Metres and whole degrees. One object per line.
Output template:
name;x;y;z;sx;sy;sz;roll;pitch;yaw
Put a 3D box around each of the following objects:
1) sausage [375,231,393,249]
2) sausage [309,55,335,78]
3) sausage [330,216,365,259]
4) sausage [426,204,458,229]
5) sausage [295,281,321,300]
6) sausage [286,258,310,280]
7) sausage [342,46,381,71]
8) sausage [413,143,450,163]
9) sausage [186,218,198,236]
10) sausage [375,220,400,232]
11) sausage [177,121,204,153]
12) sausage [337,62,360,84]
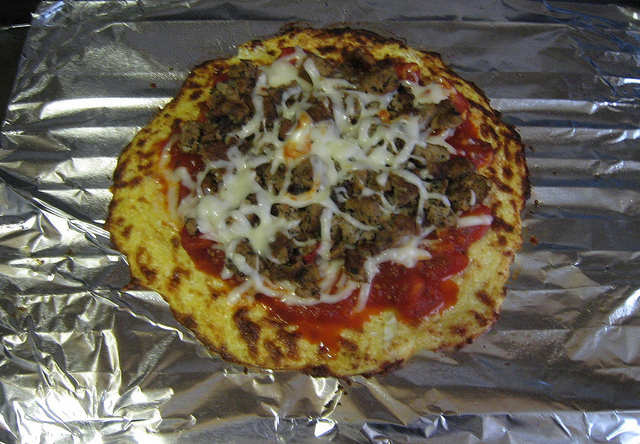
sausage;0.430;0.125;6.006;0.140;0.031;0.117;-30;82;7
sausage;0.018;-1.105;6.281;0.199;0.044;0.128;38;40;-1
sausage;0.124;0.113;6.009;0.214;0.181;0.255;27;67;12
sausage;0.831;-0.030;6.050;0.148;0.043;0.202;-43;105;-1
sausage;-0.088;0.472;6.020;0.181;0.094;0.090;9;66;4
sausage;-0.159;0.323;6.018;0.158;0.143;0.047;-34;37;0
sausage;0.289;-1.160;6.370;0.278;0.057;0.162;33;57;27
sausage;0.753;-0.476;6.082;0.237;0.094;0.148;-10;64;-6
sausage;-0.896;0.033;6.108;0.105;0.032;0.097;6;95;12
sausage;0.454;0.036;6.007;0.101;0.111;0.026;39;106;42
sausage;-0.909;-0.598;6.239;0.224;0.083;0.193;9;88;18
sausage;0.200;-1.068;6.355;0.140;0.043;0.171;-11;59;-21
